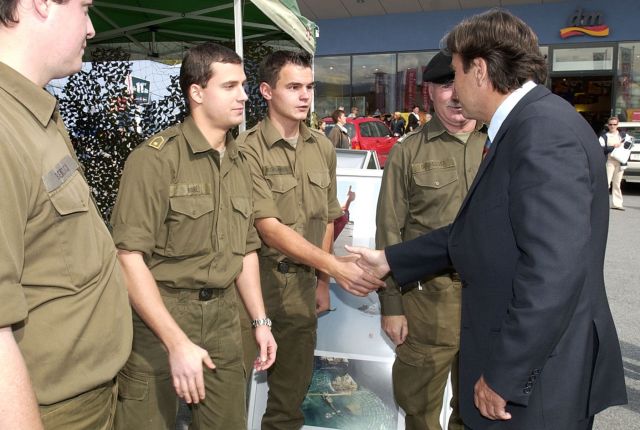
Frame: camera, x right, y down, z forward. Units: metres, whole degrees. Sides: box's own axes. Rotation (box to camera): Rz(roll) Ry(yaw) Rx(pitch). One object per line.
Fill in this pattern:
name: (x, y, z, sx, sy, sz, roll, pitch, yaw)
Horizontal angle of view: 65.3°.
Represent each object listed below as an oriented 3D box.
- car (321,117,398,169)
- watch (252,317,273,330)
car: (1.671, -2.503, 15.995, 1.884, 1.558, 3.043, 9, 23, 38)
watch: (-0.360, 0.637, 3.048, 0.104, 0.062, 0.096, -4, -3, 33)
